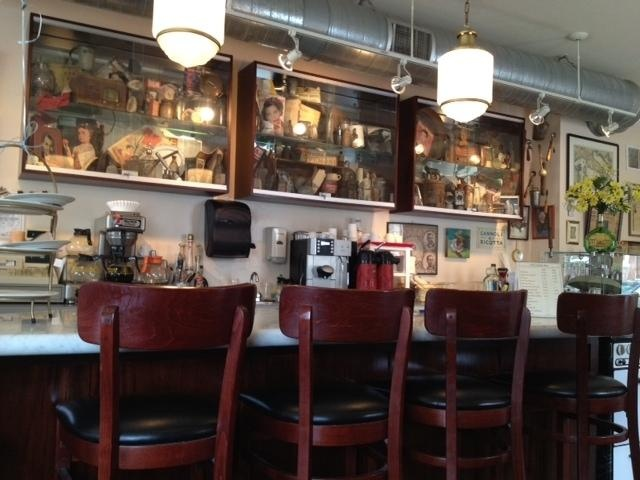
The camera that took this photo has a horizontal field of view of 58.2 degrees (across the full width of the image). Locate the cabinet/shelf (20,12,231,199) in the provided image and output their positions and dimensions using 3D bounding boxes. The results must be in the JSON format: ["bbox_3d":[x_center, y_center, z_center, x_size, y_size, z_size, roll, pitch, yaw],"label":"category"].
[{"bbox_3d":[-1.388,-0.918,3.926,1.344,1.045,0.403,1,-5,-23],"label":"cabinet/shelf"}]

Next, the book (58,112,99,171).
[{"bbox_3d":[-1.645,-0.615,4.025,0.185,0.438,0.252,-9,-19,22],"label":"book"}]

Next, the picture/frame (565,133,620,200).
[{"bbox_3d":[2.827,-0.690,6.164,1.073,0.787,0.031,-2,16,-42],"label":"picture/frame"}]

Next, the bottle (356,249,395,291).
[{"bbox_3d":[0.419,0.200,4.614,0.365,0.366,0.285,2,-1,-18],"label":"bottle"}]

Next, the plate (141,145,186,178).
[{"bbox_3d":[-1.139,-0.575,4.194,0.264,0.217,0.130,1,3,-28],"label":"plate"}]

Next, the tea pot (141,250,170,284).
[{"bbox_3d":[-1.112,0.188,3.888,0.201,0.216,0.432,0,2,-18],"label":"tea pot"}]

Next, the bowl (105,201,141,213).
[{"bbox_3d":[-1.338,-0.228,3.887,0.186,0.085,0.167,1,1,6],"label":"bowl"}]

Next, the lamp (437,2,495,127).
[{"bbox_3d":[0.851,-0.988,3.371,0.303,0.536,0.215,1,1,15],"label":"lamp"}]

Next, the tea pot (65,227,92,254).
[{"bbox_3d":[-1.634,0.003,3.926,0.163,0.177,0.155,2,-4,0],"label":"tea pot"}]

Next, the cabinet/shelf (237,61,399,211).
[{"bbox_3d":[-0.014,-0.797,4.870,1.345,1.004,0.371,5,-4,-26],"label":"cabinet/shelf"}]

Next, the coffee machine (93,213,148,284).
[{"bbox_3d":[-1.366,0.066,3.917,0.318,0.515,0.324,2,-2,-25],"label":"coffee machine"}]

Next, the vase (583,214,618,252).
[{"bbox_3d":[1.988,-0.038,4.092,0.288,0.308,0.297,1,-8,27],"label":"vase"}]

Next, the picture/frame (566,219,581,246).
[{"bbox_3d":[2.620,-0.076,5.980,0.244,0.305,0.028,3,-4,-33],"label":"picture/frame"}]

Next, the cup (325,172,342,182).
[{"bbox_3d":[0.110,-0.521,4.755,0.088,0.067,0.070,4,-11,-17],"label":"cup"}]

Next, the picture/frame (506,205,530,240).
[{"bbox_3d":[1.971,-0.166,5.773,0.339,0.408,0.023,-1,3,-34],"label":"picture/frame"}]

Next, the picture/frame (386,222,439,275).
[{"bbox_3d":[0.899,0.085,5.383,0.576,0.500,0.015,2,-17,-41],"label":"picture/frame"}]

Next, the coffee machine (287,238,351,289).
[{"bbox_3d":[-0.008,0.212,4.631,0.445,0.421,0.451,4,-2,-15],"label":"coffee machine"}]

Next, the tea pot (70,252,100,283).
[{"bbox_3d":[-1.498,0.178,3.656,0.178,0.185,0.173,0,-3,0],"label":"tea pot"}]
